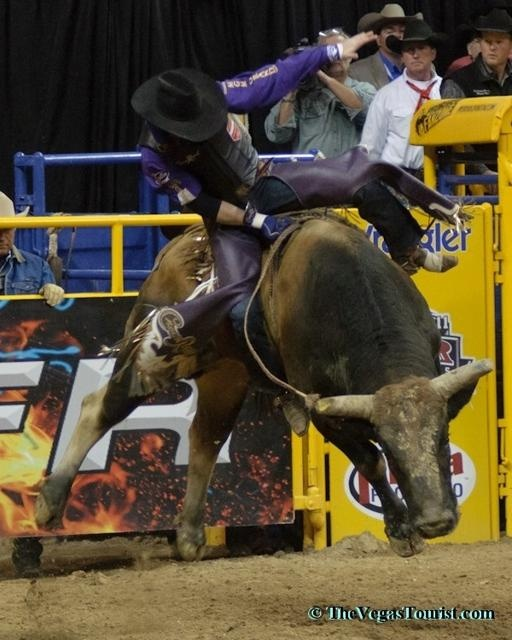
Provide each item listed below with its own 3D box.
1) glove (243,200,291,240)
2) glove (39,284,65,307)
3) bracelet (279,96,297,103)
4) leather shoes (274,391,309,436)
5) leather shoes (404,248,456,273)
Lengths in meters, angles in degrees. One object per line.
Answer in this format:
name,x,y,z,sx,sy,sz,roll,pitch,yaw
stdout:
glove,0.039,-0.441,4.507,0.202,0.057,0.167,-3,35,-20
glove,-1.136,-0.132,5.502,0.126,0.121,0.064,5,-9,-20
bracelet,0.231,-1.559,6.906,0.092,0.018,0.075,-5,-9,-5
leather shoes,0.152,0.405,4.440,0.093,0.106,0.263,-39,38,2
leather shoes,0.834,-0.289,4.796,0.316,0.079,0.185,-4,-23,-6
